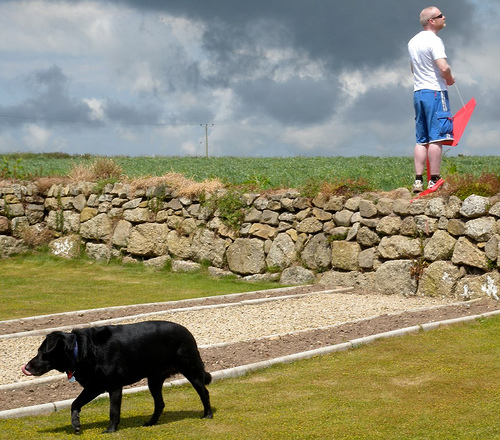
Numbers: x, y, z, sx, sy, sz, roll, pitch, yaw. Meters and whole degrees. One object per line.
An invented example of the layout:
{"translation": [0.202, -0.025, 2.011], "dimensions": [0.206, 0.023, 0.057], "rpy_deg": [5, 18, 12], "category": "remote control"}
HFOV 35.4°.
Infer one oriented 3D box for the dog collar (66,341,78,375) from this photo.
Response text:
{"translation": [-2.107, 1.637, 9.241], "dimensions": [0.163, 0.324, 0.055], "rpy_deg": [0, 0, 31], "category": "dog collar"}
